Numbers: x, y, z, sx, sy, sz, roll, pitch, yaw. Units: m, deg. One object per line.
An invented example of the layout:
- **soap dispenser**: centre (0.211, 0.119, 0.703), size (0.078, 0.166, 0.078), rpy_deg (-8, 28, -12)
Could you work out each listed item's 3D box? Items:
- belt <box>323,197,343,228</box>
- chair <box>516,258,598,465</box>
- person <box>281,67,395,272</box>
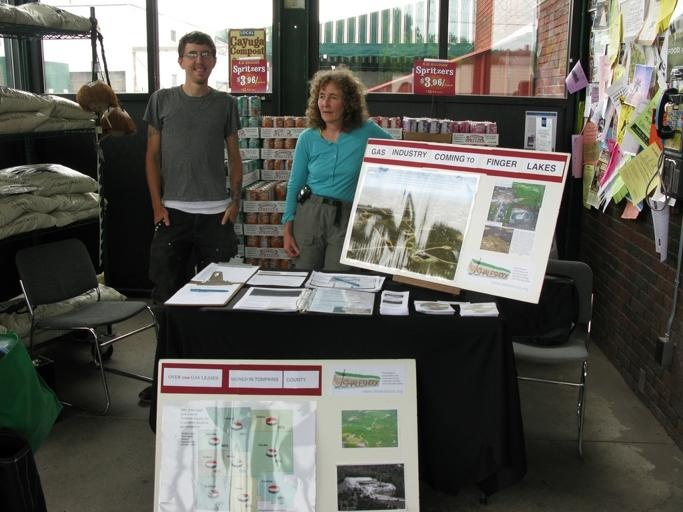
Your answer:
- **belt**: centre (-0.046, -0.277, 3.306), size (0.122, 0.170, 0.050), rpy_deg (3, 3, -6)
- **chair**: centre (1.376, 0.579, 3.370), size (0.448, 1.106, 0.936), rpy_deg (7, 20, 25)
- **person**: centre (-0.091, -0.559, 3.463), size (0.625, 1.263, 0.505), rpy_deg (-17, 24, -39)
